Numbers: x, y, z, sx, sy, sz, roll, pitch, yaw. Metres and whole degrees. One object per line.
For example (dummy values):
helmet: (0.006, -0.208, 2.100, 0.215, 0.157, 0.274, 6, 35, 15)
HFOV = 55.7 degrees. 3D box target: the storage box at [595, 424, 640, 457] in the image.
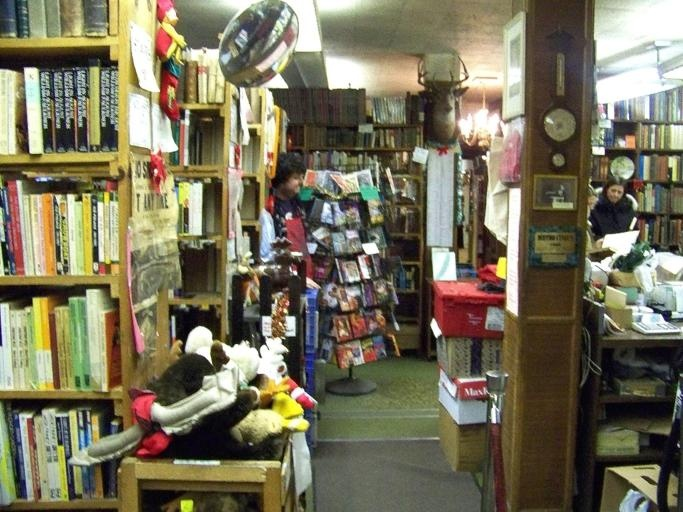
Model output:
storage box: (1.621, 1.089, 3.787, 0.176, 0.122, 0.187, -2, -3, 8)

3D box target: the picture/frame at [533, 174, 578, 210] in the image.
picture/frame: (1.181, -0.359, 3.593, 0.176, 0.163, 0.013, 1, -2, -6)

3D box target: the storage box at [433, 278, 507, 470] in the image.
storage box: (0.862, 0.827, 4.444, 0.476, 1.173, 0.827, 2, 8, 6)
